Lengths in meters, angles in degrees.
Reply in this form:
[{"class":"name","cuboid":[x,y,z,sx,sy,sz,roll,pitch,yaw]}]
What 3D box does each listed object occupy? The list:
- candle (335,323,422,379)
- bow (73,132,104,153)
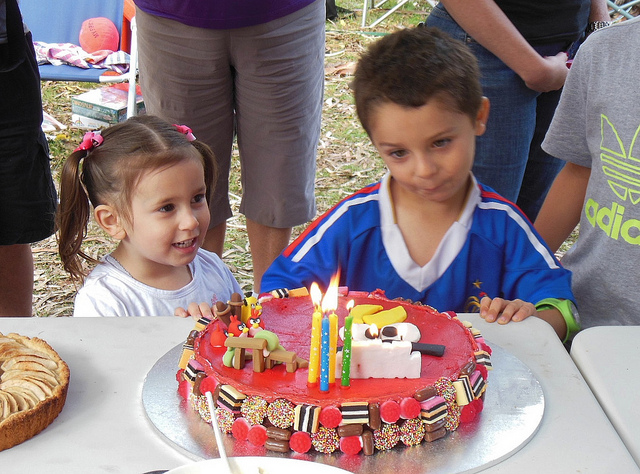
[{"class":"candle","cuboid":[0.118,0.233,1.169,0.180,0.109,0.029,1,-1,-2]},{"class":"bow","cuboid":[-0.774,-0.322,1.919,0.073,0.029,0.073,-48,37,-18]}]
